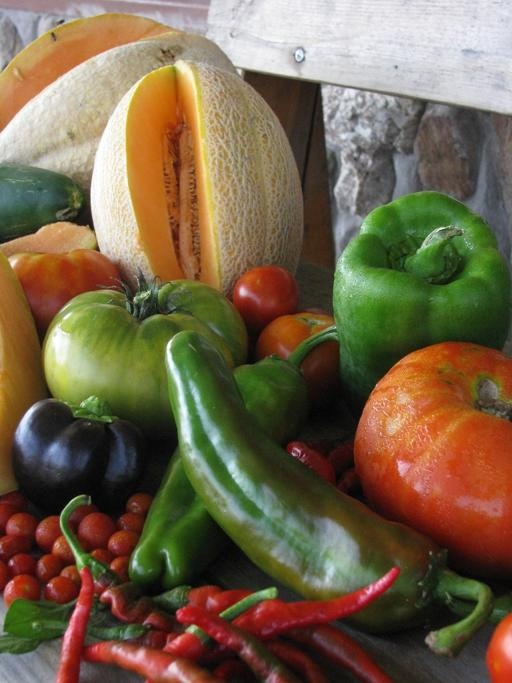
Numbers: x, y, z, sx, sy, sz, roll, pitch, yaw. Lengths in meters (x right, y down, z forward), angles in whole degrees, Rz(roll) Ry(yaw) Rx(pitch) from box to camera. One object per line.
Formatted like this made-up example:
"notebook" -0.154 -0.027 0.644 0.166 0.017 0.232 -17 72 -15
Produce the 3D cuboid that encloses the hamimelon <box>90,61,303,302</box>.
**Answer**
"hamimelon" -0.084 -0.197 0.940 0.209 0.335 0.207 -14 27 -33
